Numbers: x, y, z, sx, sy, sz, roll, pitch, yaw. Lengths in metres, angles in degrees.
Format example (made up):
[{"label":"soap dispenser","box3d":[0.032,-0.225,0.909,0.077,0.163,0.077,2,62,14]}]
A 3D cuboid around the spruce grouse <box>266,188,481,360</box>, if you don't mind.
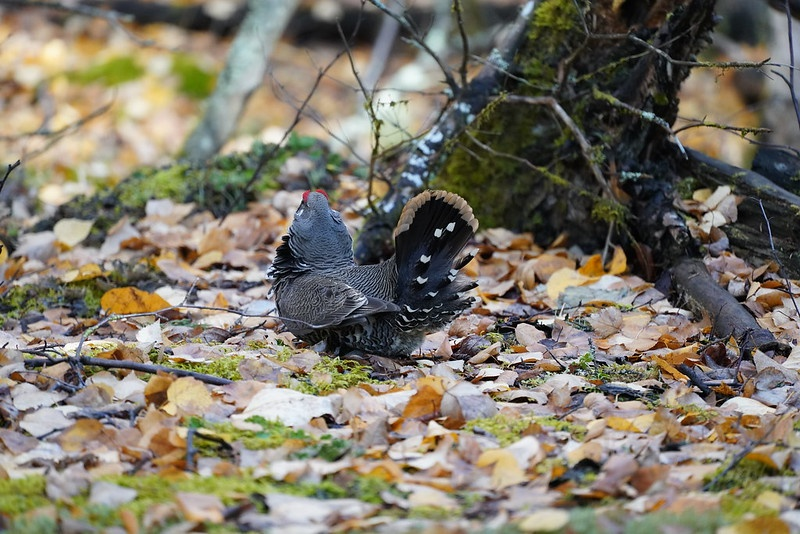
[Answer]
[{"label":"spruce grouse","box3d":[-0.207,0.055,5.761,1.705,1.221,1.058,-3,4,42]}]
